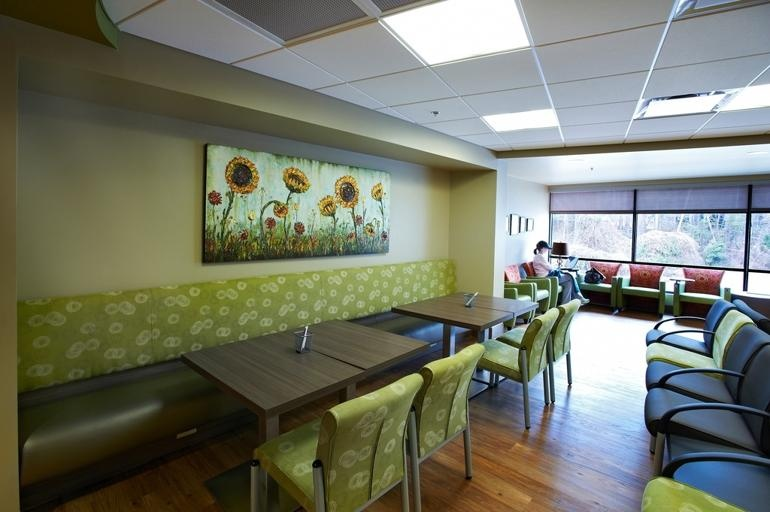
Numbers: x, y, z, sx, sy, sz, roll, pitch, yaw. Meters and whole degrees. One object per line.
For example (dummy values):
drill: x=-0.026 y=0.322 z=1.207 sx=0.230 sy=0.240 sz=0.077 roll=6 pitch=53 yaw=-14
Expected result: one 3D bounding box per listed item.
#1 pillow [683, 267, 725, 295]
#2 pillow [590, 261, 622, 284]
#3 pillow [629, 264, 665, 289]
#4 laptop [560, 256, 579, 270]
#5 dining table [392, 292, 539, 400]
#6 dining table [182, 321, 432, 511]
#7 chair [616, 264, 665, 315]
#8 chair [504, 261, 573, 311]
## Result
pillow: x=5.287 y=0.425 z=7.647 sx=0.403 sy=0.405 sz=0.149 roll=2 pitch=-18 yaw=43
pillow: x=4.122 y=0.265 z=8.607 sx=0.138 sy=0.403 sz=0.419 roll=17 pitch=0 yaw=-44
pillow: x=4.631 y=0.364 z=8.155 sx=0.373 sy=0.374 sz=0.132 roll=6 pitch=-19 yaw=38
laptop: x=3.565 y=0.140 z=8.856 sx=0.078 sy=0.312 sz=0.334 roll=16 pitch=6 yaw=13
dining table: x=0.882 y=0.842 z=4.883 sx=0.884 sy=0.503 sz=0.911 roll=12 pitch=19 yaw=43
dining table: x=-0.677 y=0.901 z=3.433 sx=1.248 sy=0.726 sz=1.187 roll=-8 pitch=11 yaw=-44
chair: x=4.523 y=0.547 z=8.136 sx=0.720 sy=0.754 sz=0.864 roll=4 pitch=7 yaw=30
chair: x=2.481 y=0.512 z=7.869 sx=0.865 sy=0.887 sz=0.949 roll=2 pitch=-4 yaw=-34
